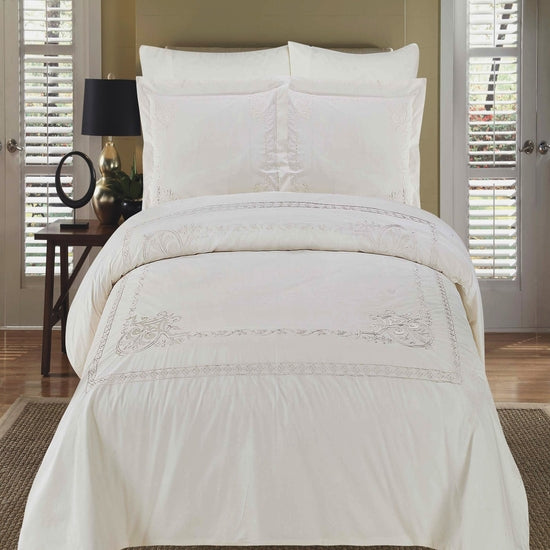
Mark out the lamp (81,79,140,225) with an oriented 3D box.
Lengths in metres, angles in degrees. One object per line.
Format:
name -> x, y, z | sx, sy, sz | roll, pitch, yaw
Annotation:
lamp -> -0.802, -0.606, 3.141 | 0.339, 0.374, 0.740 | -1, -77, -14
